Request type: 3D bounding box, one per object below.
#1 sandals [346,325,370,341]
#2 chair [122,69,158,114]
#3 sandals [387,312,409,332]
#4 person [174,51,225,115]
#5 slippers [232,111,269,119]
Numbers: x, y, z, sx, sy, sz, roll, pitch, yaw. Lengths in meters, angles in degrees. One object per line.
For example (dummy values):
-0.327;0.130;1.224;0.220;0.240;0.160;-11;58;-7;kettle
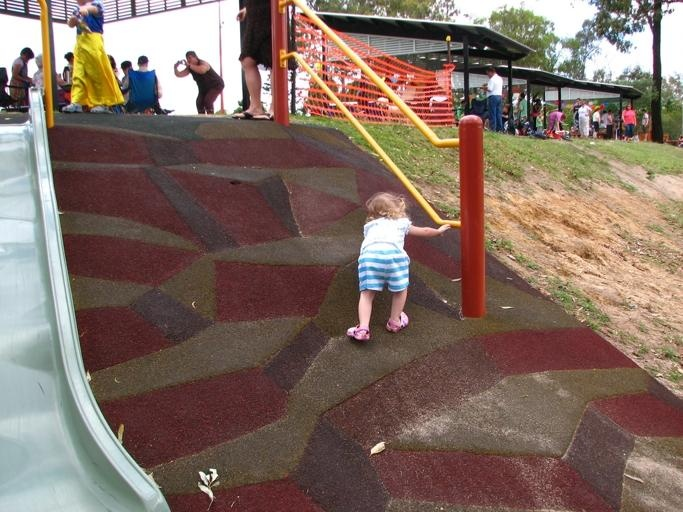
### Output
0.119;0.549;5.213;0.170;0.106;0.113;2;15;-2;sandals
-3.158;-2.595;11.595;0.503;0.844;0.414;-5;-21;-7;chair
0.418;0.498;5.391;0.091;0.085;0.176;16;33;35;sandals
-2.374;-2.928;12.329;0.492;1.019;0.784;13;18;40;person
-1.033;-1.610;8.355;0.363;0.095;0.171;2;3;-13;slippers
